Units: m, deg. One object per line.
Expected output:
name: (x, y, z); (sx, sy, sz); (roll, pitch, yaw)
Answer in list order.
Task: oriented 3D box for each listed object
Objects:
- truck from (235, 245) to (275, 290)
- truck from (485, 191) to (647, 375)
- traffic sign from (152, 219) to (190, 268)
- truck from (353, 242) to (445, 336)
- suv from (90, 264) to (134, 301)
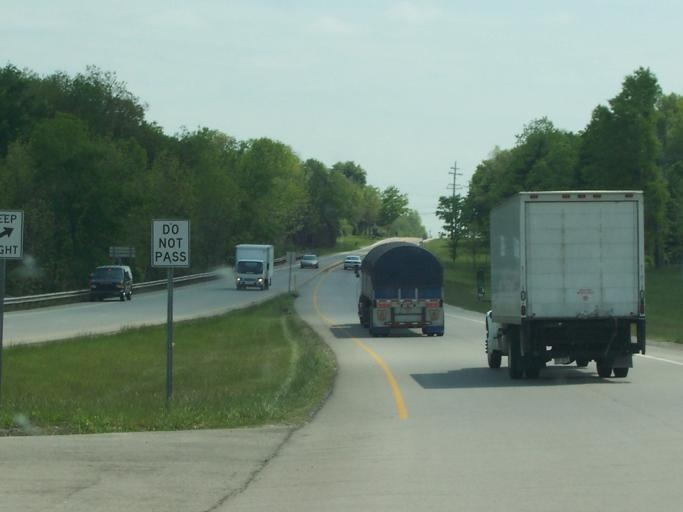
truck: (-5.935, 0.793, 86.078); (2.214, 3.018, 5.062); (1, 3, 1)
truck: (7.164, 0.800, 42.706); (3.080, 4.268, 6.945); (1, 0, -1)
traffic sign: (-5.140, -0.325, 37.793); (1.170, 1.641, 0.163); (1, -5, -11)
truck: (2.475, 1.287, 52.352); (2.909, 3.929, 4.914); (1, 1, 0)
suv: (-13.196, 1.615, 72.211); (1.775, 2.049, 2.847); (0, 6, 22)
